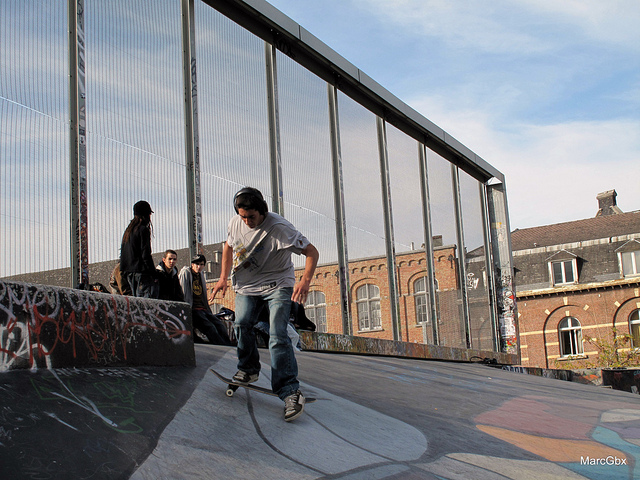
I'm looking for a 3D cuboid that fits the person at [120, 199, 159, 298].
[{"bbox_3d":[-2.517,0.148,8.462,0.721,1.262,0.327,12,2,20],"label":"person"}]

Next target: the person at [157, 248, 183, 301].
[{"bbox_3d":[-2.268,0.532,9.174,0.447,0.727,0.501,11,1,-15],"label":"person"}]

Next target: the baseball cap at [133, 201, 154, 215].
[{"bbox_3d":[-2.493,-0.446,8.444,0.160,0.132,0.225,1,7,30],"label":"baseball cap"}]

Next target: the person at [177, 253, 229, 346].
[{"bbox_3d":[-1.896,1.044,9.766,0.900,1.666,0.787,-5,-9,26],"label":"person"}]

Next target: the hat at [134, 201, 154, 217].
[{"bbox_3d":[-2.484,-0.434,8.427,0.167,0.136,0.234,5,6,29],"label":"hat"}]

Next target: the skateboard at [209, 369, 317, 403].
[{"bbox_3d":[-0.609,1.432,5.886,0.855,0.145,0.179,19,5,7],"label":"skateboard"}]
